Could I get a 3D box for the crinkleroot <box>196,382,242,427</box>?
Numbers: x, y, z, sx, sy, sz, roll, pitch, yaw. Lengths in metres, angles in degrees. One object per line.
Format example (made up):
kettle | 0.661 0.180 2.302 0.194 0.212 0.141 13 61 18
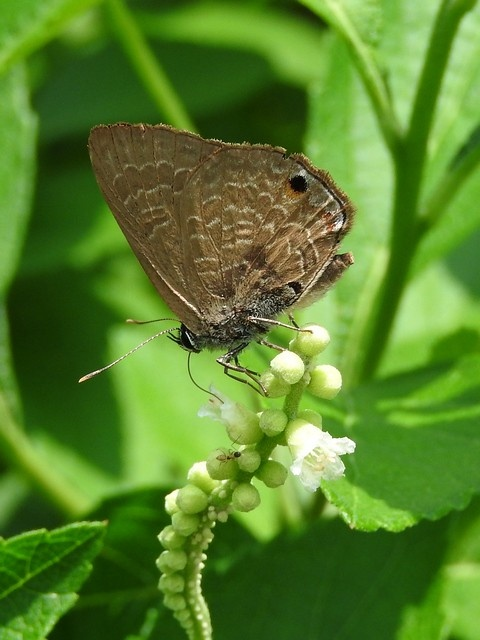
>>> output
crinkleroot | -0.033 0.170 1.321 0.080 0.083 0.075 8 55 11
